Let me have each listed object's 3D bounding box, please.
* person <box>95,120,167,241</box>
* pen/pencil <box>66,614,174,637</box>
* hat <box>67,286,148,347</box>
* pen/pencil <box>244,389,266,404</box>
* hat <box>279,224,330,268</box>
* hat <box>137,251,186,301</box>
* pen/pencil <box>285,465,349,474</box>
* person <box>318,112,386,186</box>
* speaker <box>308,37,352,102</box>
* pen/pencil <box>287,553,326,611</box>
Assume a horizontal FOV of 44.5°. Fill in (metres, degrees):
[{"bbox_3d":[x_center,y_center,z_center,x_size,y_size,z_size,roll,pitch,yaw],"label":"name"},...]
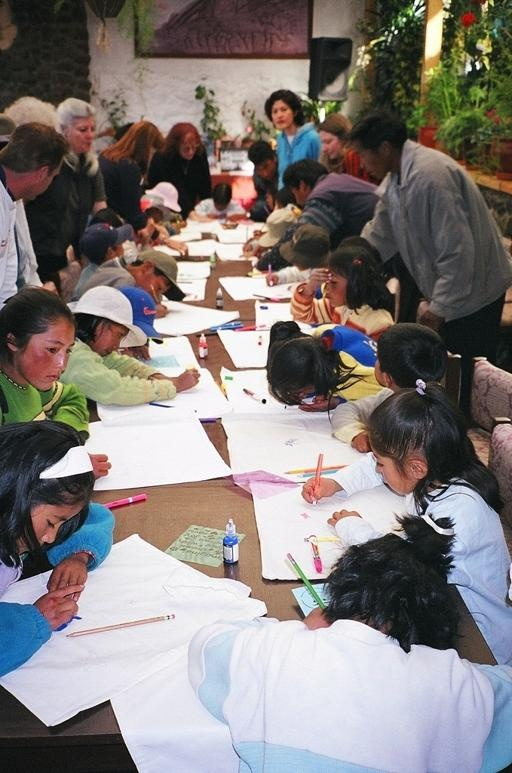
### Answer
[{"bbox_3d":[-0.701,-1.270,4.020,0.543,0.919,0.450,-3,55,-10],"label":"person"},{"bbox_3d":[-0.210,0.379,0.987,0.136,0.009,0.009,-5,51,-14],"label":"pen/pencil"},{"bbox_3d":[-0.450,-0.244,2.008,0.235,0.128,0.178,23,-8,-13],"label":"hat"},{"bbox_3d":[-0.003,0.033,1.956,0.025,0.021,0.124,-38,31,-13],"label":"pen/pencil"},{"bbox_3d":[0.252,-0.664,3.096,0.227,0.120,0.229,11,41,-9],"label":"hat"},{"bbox_3d":[-0.369,-0.522,2.827,0.130,0.251,0.158,-54,26,-13],"label":"hat"},{"bbox_3d":[0.143,0.199,1.498,0.109,0.008,0.010,-7,39,-19],"label":"pen/pencil"},{"bbox_3d":[0.617,-1.375,4.177,0.266,0.780,0.273,-23,27,-32],"label":"person"},{"bbox_3d":[0.708,-3.061,6.030,0.378,0.546,0.255,3,24,3],"label":"speaker"},{"bbox_3d":[0.077,0.331,1.104,0.020,0.020,0.173,17,15,-23],"label":"pen/pencil"}]
